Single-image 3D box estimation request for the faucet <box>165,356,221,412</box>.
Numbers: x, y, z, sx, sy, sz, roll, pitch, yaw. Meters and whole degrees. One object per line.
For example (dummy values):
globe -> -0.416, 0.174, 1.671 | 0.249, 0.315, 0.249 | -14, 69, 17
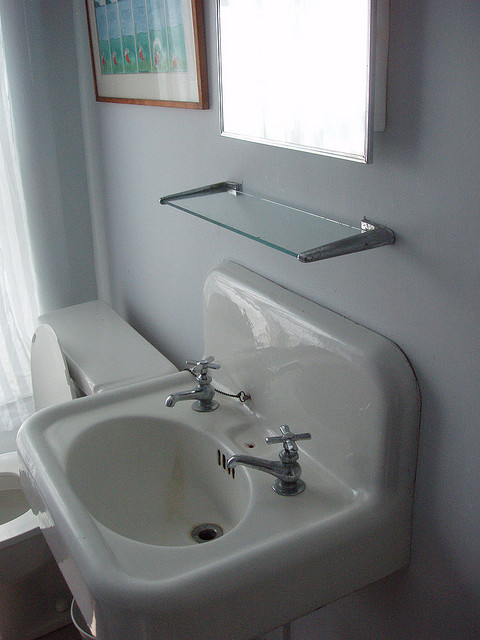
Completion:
faucet -> -0.090, 0.131, 1.037 | 0.111, 0.098, 0.073 | -12, 21, -31
